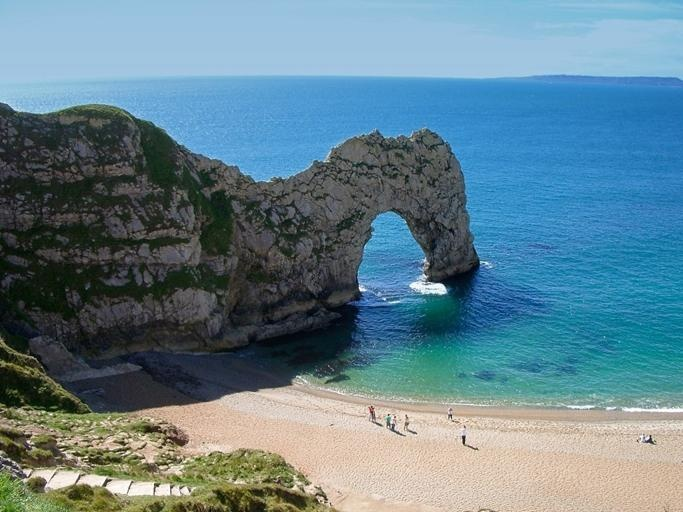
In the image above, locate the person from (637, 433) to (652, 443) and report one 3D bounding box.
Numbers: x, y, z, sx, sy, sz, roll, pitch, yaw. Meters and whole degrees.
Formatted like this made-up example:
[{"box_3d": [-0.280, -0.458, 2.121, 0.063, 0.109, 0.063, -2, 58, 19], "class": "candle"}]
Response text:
[{"box_3d": [25.731, 15.370, 55.861, 0.829, 0.248, 0.738, -4, 17, 12], "class": "person"}]
